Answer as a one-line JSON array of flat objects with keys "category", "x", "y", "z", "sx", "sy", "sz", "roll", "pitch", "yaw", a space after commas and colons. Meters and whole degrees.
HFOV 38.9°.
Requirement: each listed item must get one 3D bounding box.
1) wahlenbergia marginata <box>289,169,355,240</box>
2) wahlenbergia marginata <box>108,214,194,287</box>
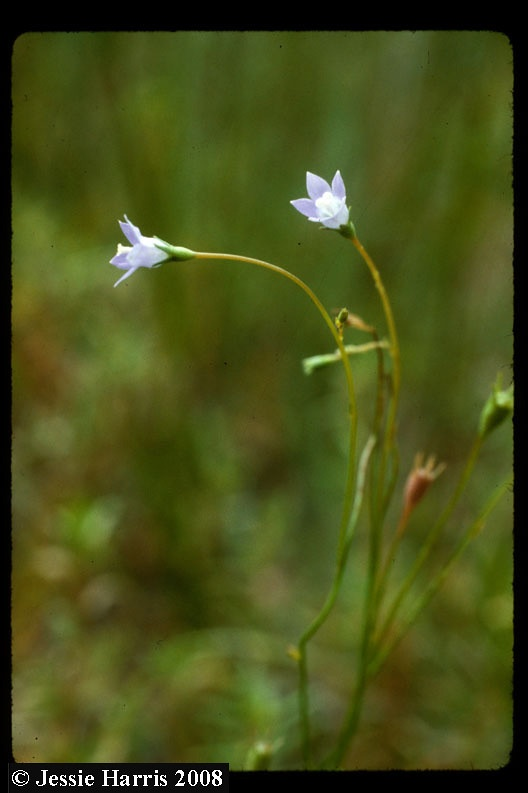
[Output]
[{"category": "wahlenbergia marginata", "x": 0.072, "y": -0.230, "z": 0.844, "sx": 0.078, "sy": 0.037, "sz": 0.076, "roll": -30, "pitch": -4, "yaw": 9}, {"category": "wahlenbergia marginata", "x": -0.122, "y": -0.168, "z": 0.865, "sx": 0.096, "sy": 0.074, "sz": 0.061, "roll": -2, "pitch": -2, "yaw": 31}]
